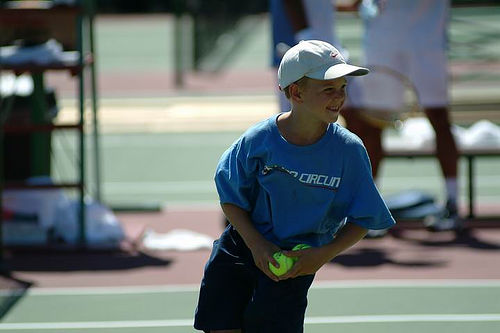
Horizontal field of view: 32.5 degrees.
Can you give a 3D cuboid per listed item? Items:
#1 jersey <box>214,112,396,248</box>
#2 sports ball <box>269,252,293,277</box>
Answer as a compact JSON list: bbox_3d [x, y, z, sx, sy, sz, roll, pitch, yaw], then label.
[{"bbox_3d":[0.470,0.125,7.647,1.622,1.153,0.632,9,21,14],"label":"jersey"},{"bbox_3d":[0.283,0.832,7.391,0.172,0.204,0.211,-3,50,33],"label":"sports ball"}]
